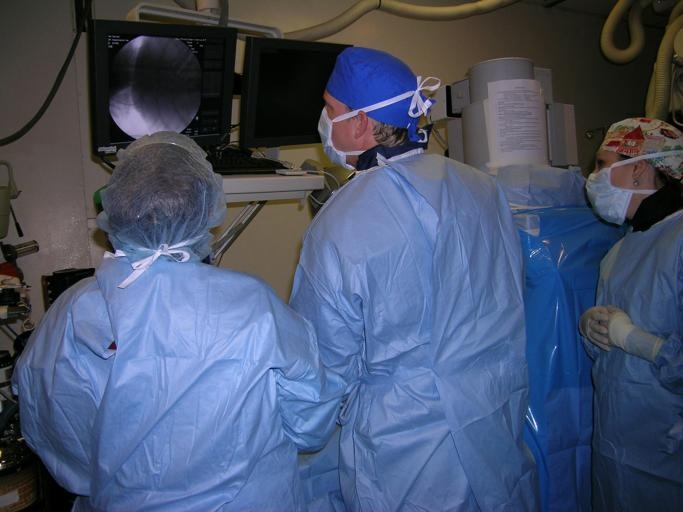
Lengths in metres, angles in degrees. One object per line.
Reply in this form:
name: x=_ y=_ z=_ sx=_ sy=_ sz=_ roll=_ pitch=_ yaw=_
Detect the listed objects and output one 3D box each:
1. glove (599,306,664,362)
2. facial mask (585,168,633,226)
glove: x=1.058 y=0.294 z=2.209 sx=0.122 sy=0.104 sz=0.254 roll=-26 pitch=29 yaw=-14
facial mask: x=1.060 y=-0.248 z=2.420 sx=0.090 sy=0.224 sz=0.136 roll=-8 pitch=17 yaw=-32
